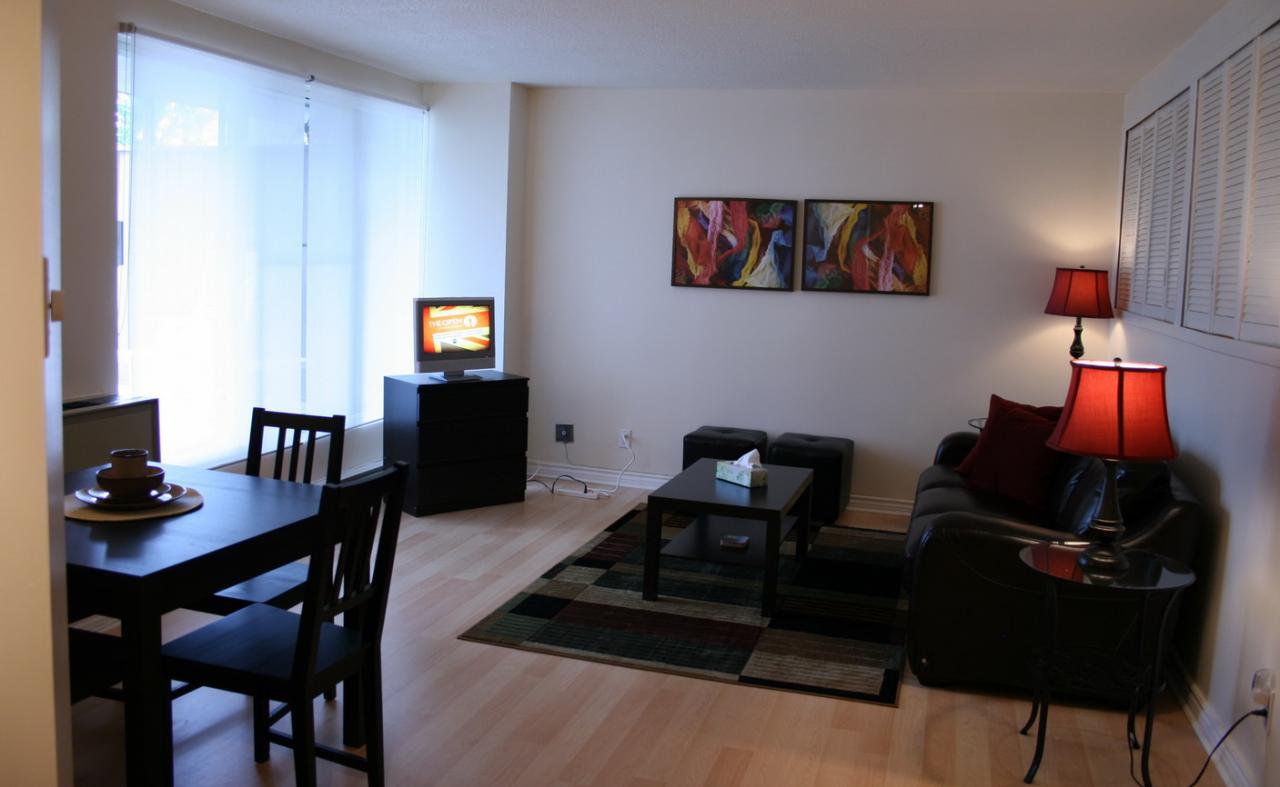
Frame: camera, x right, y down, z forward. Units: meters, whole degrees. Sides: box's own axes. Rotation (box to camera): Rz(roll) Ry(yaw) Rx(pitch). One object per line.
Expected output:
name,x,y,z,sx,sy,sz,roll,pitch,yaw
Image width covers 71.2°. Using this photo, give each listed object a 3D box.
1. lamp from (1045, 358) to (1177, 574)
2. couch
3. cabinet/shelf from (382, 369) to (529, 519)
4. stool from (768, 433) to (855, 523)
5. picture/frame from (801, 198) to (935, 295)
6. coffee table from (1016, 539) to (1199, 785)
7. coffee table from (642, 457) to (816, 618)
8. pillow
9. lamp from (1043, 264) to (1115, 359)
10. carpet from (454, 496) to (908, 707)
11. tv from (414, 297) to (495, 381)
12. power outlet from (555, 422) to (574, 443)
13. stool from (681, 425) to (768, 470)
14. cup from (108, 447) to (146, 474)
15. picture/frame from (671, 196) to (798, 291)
lamp,2.021,0.301,3.876,0.438,0.874,0.458,9,14,39
couch,2.037,1.109,4.715,1.129,0.928,1.868,2,4,18
cabinet/shelf,-1.373,0.348,6.914,1.448,1.315,0.939,0,2,-35
stool,1.269,0.578,6.757,0.634,0.605,0.636,3,6,25
picture/frame,1.754,-1.126,6.764,0.784,0.551,0.028,2,7,15
coffee table,2.022,1.141,4.008,0.679,1.020,0.690,4,12,19
coffee table,0.545,0.625,5.387,0.817,0.607,1.231,3,6,21
pillow,2.324,0.398,5.559,0.232,0.716,0.739,20,6,-34
lamp,3.060,-0.569,6.295,0.417,0.620,0.473,5,12,24
carpet,0.410,1.269,5.514,2.613,0.033,2.794,5,5,29
tv,-1.368,-0.401,6.475,0.625,0.558,0.211,-3,5,-35
power outlet,-0.634,0.319,7.446,0.183,0.167,0.092,0,0,8
stool,0.644,0.363,6.843,0.407,0.299,0.403,2,5,18
cup,-2.170,0.287,3.798,0.123,0.083,0.121,2,3,0
picture/frame,0.767,-1.190,6.993,0.794,0.540,0.027,2,7,18
